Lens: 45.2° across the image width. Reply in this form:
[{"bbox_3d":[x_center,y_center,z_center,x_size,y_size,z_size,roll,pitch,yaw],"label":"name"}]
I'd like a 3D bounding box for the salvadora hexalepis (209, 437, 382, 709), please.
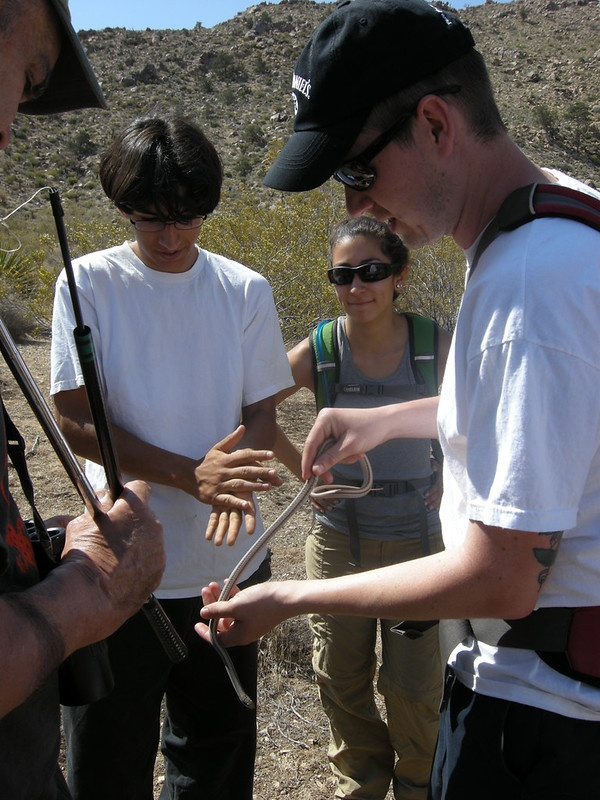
[{"bbox_3d":[0.015,0.338,1.925,0.323,0.048,0.968,20,56,27],"label":"salvadora hexalepis"}]

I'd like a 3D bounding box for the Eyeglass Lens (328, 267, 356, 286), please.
[{"bbox_3d":[0.179,-0.519,3.020,0.104,0.041,0.096,3,-2,-39],"label":"Eyeglass Lens"}]

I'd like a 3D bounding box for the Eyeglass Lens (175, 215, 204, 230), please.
[{"bbox_3d":[-0.329,-0.531,2.122,0.061,0.016,0.059,-12,22,-26],"label":"Eyeglass Lens"}]
